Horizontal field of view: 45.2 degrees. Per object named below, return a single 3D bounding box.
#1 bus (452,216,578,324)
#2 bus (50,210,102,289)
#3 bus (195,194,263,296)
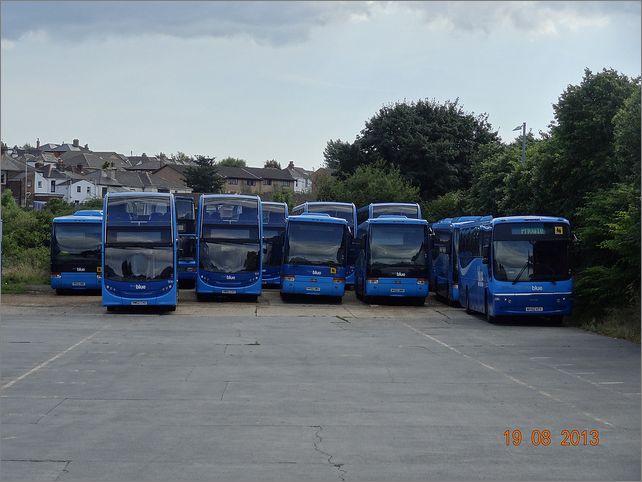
[{"bbox_3d":[6.181,0.992,28.941,2.969,3.901,8.256,-1,2,-21],"label":"bus"},{"bbox_3d":[-11.481,0.571,35.751,2.192,3.360,1.252,0,2,-16],"label":"bus"},{"bbox_3d":[-4.191,0.506,36.733,2.820,4.816,9.796,0,-4,-3],"label":"bus"}]
